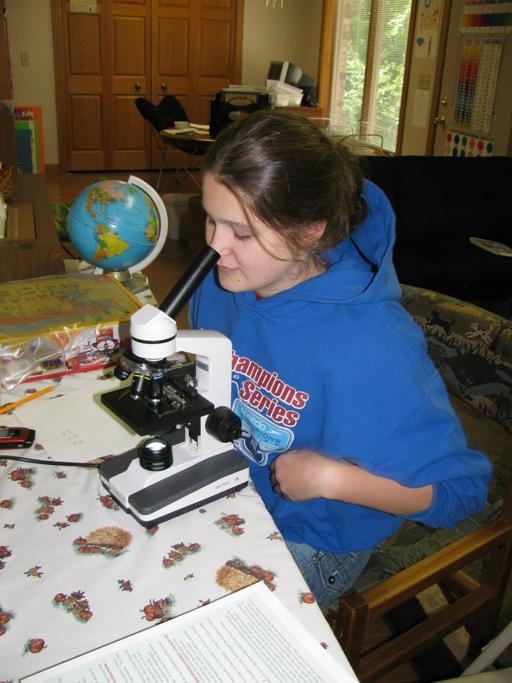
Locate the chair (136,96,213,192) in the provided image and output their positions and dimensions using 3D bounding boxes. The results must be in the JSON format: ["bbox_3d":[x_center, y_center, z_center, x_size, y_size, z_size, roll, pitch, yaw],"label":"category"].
[{"bbox_3d":[-0.851,-2.272,5.566,0.462,0.664,0.596,9,40,25],"label":"chair"}]

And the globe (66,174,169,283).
[{"bbox_3d":[-0.396,-0.316,1.472,0.282,0.288,0.243,-12,42,-39],"label":"globe"}]

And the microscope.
[{"bbox_3d":[-0.133,0.068,0.813,0.265,0.381,0.226,-7,30,-31],"label":"microscope"}]
